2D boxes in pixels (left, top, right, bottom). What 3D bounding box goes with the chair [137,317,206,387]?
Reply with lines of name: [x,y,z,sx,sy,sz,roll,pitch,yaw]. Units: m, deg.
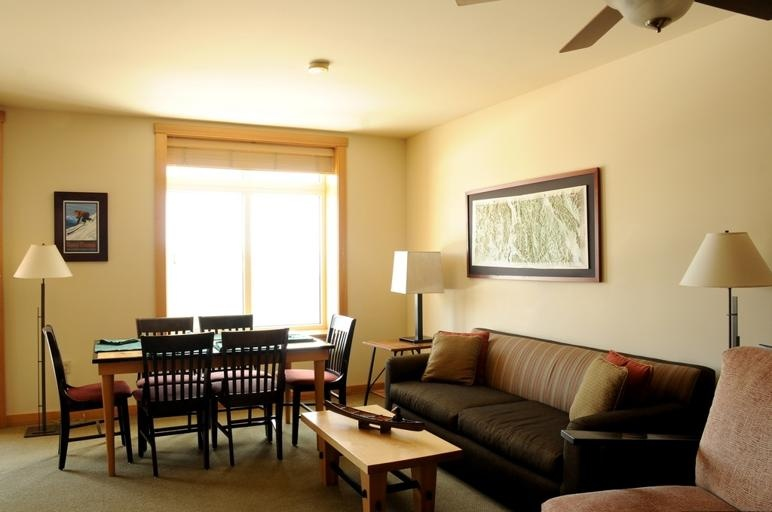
chair: [-2.152,0.894,5.378,0.589,0.934,0.636,2,-6,-28]

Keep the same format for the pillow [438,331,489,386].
pillow: [0.880,0.959,5.448,0.474,0.443,0.171,-1,-23,26]

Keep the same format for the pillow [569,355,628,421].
pillow: [1.552,0.976,4.108,0.146,0.444,0.469,26,-4,-11]

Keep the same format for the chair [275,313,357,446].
chair: [-0.716,1.222,5.658,0.796,1.052,0.742,-2,1,-6]

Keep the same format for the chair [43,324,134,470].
chair: [-2.749,1.189,5.147,0.649,1.191,1.105,-3,7,-30]

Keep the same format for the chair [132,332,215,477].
chair: [-1.871,1.222,4.913,0.624,1.208,0.800,-3,7,-24]
